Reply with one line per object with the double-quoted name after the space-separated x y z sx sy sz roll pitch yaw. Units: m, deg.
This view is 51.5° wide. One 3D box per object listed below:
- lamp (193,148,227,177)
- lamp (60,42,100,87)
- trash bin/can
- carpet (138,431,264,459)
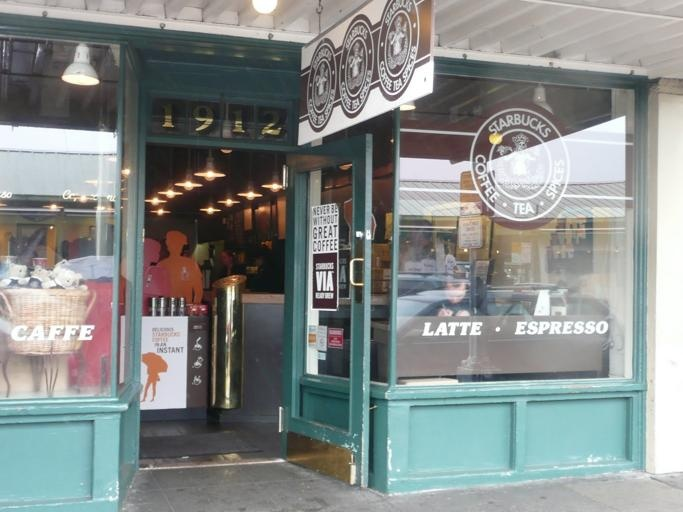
-2.054 -1.367 10.714 0.421 0.448 0.436 -1 -9 8 "lamp"
-1.976 -1.510 5.398 0.261 0.318 0.269 4 19 -21 "lamp"
-1.308 0.994 8.120 0.377 1.431 0.354 1 3 -10 "trash bin/can"
-1.416 1.860 7.002 1.119 0.079 0.896 0 5 -17 "carpet"
